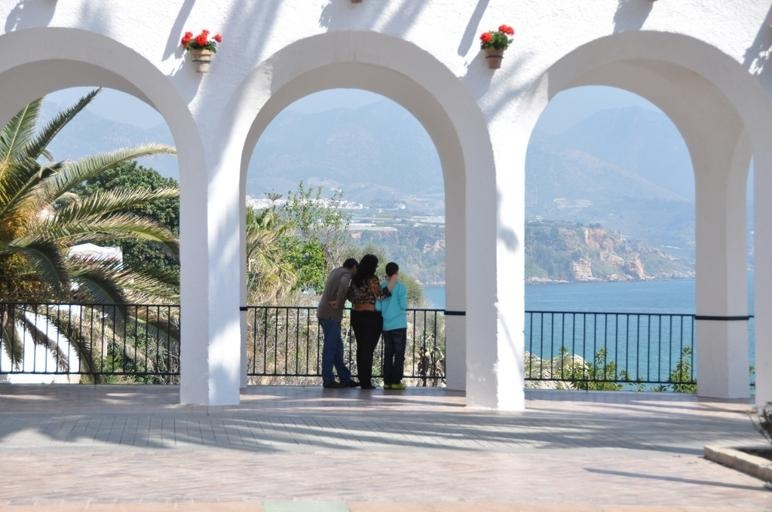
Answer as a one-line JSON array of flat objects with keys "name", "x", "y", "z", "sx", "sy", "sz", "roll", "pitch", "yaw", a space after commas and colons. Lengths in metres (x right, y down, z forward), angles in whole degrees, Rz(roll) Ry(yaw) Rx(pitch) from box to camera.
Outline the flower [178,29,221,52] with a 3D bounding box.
[{"name": "flower", "x": -2.434, "y": -2.843, "z": 10.732, "sx": 0.349, "sy": 0.361, "sz": 0.245, "roll": 12, "pitch": -43, "yaw": 7}]

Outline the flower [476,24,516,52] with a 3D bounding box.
[{"name": "flower", "x": 1.485, "y": -2.937, "z": 10.978, "sx": 0.369, "sy": 0.383, "sz": 0.270, "roll": -8, "pitch": -55, "yaw": 19}]

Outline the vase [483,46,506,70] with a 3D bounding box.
[{"name": "vase", "x": 1.469, "y": -2.679, "z": 11.017, "sx": 0.249, "sy": 0.228, "sz": 0.260, "roll": 2, "pitch": -3, "yaw": -9}]

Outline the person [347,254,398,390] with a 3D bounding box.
[{"name": "person", "x": -0.276, "y": 1.039, "z": 13.230, "sx": 0.679, "sy": 2.245, "sz": 0.622, "roll": 3, "pitch": -11, "yaw": -16}]

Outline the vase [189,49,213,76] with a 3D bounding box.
[{"name": "vase", "x": -2.434, "y": -2.572, "z": 10.766, "sx": 0.270, "sy": 0.249, "sz": 0.275, "roll": 4, "pitch": 6, "yaw": 32}]
